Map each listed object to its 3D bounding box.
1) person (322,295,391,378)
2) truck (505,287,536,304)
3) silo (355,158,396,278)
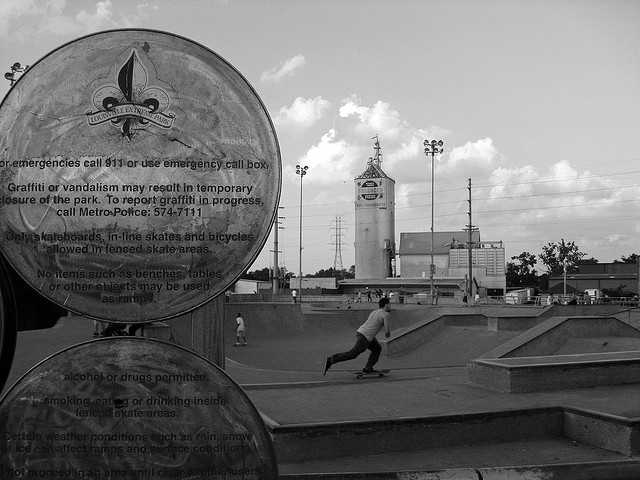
[{"bbox_3d":[0.588,1.271,11.094,0.781,1.002,0.938,-3,-3,14],"label":"person"},{"bbox_3d":[13.745,3.729,56.731,1.696,0.738,18.002,-3,-3,14],"label":"truck"},{"bbox_3d":[5.558,-1.354,82.983,3.857,10.133,5.231,-3,-3,3],"label":"silo"}]
